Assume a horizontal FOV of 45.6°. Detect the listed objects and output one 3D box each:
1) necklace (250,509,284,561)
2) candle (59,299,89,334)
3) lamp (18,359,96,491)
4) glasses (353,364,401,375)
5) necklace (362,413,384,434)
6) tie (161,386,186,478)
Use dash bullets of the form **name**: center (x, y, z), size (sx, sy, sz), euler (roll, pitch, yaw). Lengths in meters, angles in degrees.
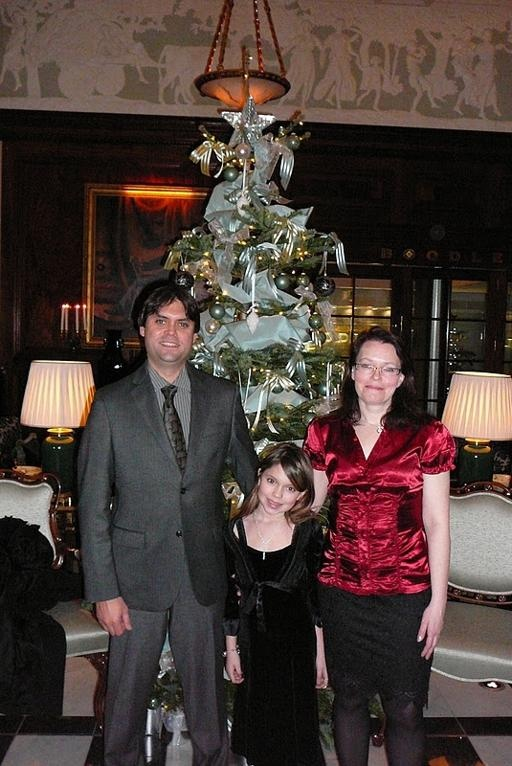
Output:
- **necklace**: center (0.029, 0.461, 1.835), size (0.130, 0.122, 0.039), euler (-1, -8, 13)
- **candle**: center (-1.633, -0.590, 5.464), size (0.282, 0.331, 0.268), euler (-2, 0, -11)
- **lamp**: center (-1.153, 0.284, 3.568), size (0.456, 0.759, 0.420), euler (6, -3, -5)
- **glasses**: center (0.333, -0.039, 1.680), size (0.114, 0.034, 0.038), euler (-1, 5, 12)
- **necklace**: center (0.332, 0.114, 1.717), size (0.054, 0.049, 0.013), euler (2, -13, 9)
- **tie**: center (-0.250, 0.139, 1.790), size (0.060, 0.269, 0.040), euler (-2, -28, -19)
